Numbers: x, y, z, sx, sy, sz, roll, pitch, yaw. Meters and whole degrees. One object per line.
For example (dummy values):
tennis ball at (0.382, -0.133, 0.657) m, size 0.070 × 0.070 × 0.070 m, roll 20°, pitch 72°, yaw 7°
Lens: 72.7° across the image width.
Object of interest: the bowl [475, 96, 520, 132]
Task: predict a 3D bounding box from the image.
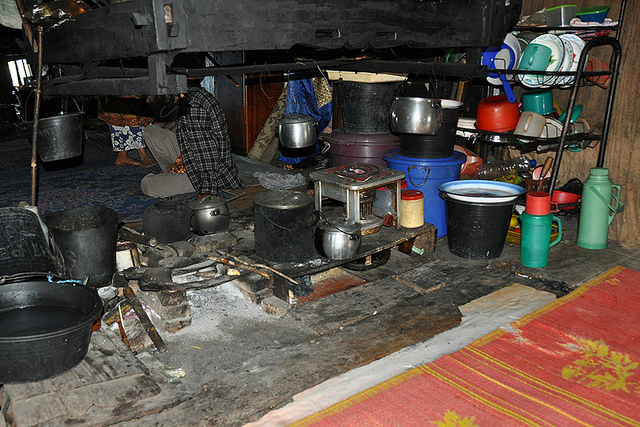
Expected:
bowl at (2.163, -1.173, 5.301) m, size 0.474 × 0.335 × 0.288 m, roll 5°, pitch 26°, yaw 19°

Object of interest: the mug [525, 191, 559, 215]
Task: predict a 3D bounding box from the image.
mug at (2.285, -0.104, 4.625) m, size 0.396 × 0.247 × 0.292 m, roll 8°, pitch 20°, yaw 28°

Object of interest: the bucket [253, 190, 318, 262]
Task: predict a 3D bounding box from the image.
bucket at (-0.366, 0.142, 4.464) m, size 0.670 × 0.548 × 0.643 m, roll 0°, pitch 13°, yaw 0°

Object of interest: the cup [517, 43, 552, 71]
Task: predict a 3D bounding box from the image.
cup at (2.434, -1.744, 4.965) m, size 0.300 × 0.263 × 0.402 m, roll 22°, pitch 16°, yaw 29°

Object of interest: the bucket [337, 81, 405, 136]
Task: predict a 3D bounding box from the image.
bucket at (0.644, -1.371, 5.777) m, size 0.813 × 0.510 × 0.765 m, roll 0°, pitch 14°, yaw 0°

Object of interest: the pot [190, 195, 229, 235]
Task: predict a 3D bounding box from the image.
pot at (-1.219, 0.012, 4.769) m, size 0.471 × 0.349 × 0.448 m, roll -4°, pitch 10°, yaw 1°

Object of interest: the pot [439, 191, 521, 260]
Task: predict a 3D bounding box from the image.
pot at (1.829, 0.135, 4.978) m, size 0.917 × 0.601 × 0.866 m, roll 2°, pitch 8°, yaw 0°

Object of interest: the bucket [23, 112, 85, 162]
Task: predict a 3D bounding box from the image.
bucket at (-2.653, -0.773, 4.530) m, size 0.613 × 0.355 × 0.559 m, roll -3°, pitch 6°, yaw 0°

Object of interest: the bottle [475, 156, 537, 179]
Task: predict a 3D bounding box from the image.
bottle at (2.320, -0.557, 5.441) m, size 0.736 × 0.216 × 0.258 m, roll -1°, pitch 24°, yaw 6°

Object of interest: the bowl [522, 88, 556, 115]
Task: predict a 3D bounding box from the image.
bowl at (2.626, -1.323, 5.296) m, size 0.410 × 0.253 × 0.391 m, roll -8°, pitch 19°, yaw 3°

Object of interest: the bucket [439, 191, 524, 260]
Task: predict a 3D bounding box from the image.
bucket at (1.852, 0.137, 4.967) m, size 0.963 × 0.616 × 0.917 m, roll 0°, pitch 7°, yaw 0°

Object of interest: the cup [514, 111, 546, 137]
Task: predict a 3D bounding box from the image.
cup at (2.461, -1.041, 5.120) m, size 0.286 × 0.263 × 0.206 m, roll 11°, pitch 29°, yaw 31°

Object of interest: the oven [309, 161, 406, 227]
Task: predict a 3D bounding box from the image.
oven at (0.357, -0.376, 4.858) m, size 0.847 × 0.646 × 0.806 m, roll -23°, pitch 37°, yaw -33°

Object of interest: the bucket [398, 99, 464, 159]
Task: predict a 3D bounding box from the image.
bucket at (1.301, -0.985, 5.057) m, size 0.809 × 0.490 × 0.724 m, roll -2°, pitch 18°, yaw -8°

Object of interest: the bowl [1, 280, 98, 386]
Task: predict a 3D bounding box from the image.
bowl at (-1.993, 0.845, 3.342) m, size 0.739 × 0.258 × 0.772 m, roll 9°, pitch 12°, yaw -2°

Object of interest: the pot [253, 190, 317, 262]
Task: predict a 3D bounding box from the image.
pot at (-0.348, 0.124, 4.463) m, size 0.727 × 0.550 × 0.629 m, roll -2°, pitch 15°, yaw -3°

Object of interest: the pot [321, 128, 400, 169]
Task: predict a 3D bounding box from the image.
pot at (0.536, -0.799, 5.799) m, size 0.819 × 0.385 × 0.749 m, roll 2°, pitch 17°, yaw -1°

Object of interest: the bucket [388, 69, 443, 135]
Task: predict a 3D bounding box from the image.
bucket at (1.047, -1.190, 4.756) m, size 0.609 × 0.603 × 0.680 m, roll 16°, pitch 19°, yaw 42°

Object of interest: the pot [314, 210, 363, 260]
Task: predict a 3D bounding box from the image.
pot at (0.172, 0.241, 4.282) m, size 0.465 × 0.347 × 0.299 m, roll -3°, pitch 25°, yaw 2°

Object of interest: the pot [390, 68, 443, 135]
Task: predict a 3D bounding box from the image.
pot at (0.988, -1.073, 4.616) m, size 0.473 × 0.441 × 0.415 m, roll -21°, pitch 32°, yaw -40°
